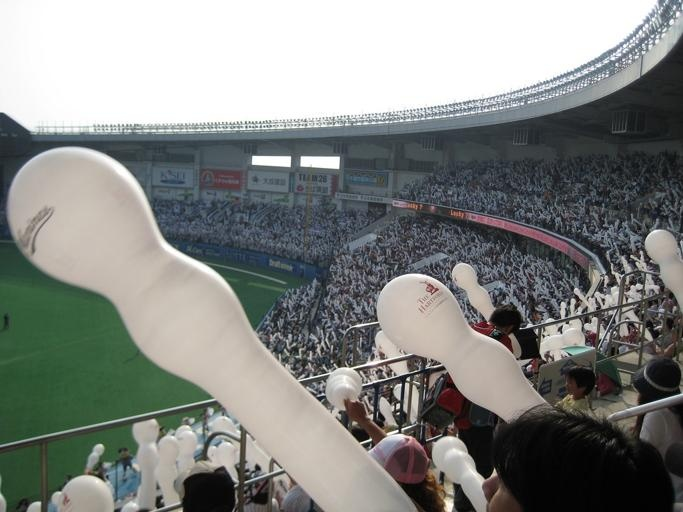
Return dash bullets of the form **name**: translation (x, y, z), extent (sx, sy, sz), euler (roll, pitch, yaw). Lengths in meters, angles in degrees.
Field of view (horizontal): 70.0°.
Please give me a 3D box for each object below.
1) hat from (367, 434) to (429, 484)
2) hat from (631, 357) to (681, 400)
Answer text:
- **hat**: translation (0.247, 0.868, 2.170), extent (0.165, 0.140, 0.235), euler (8, 6, -39)
- **hat**: translation (1.974, 0.778, 3.105), extent (0.227, 0.263, 0.144), euler (-17, -57, -4)
